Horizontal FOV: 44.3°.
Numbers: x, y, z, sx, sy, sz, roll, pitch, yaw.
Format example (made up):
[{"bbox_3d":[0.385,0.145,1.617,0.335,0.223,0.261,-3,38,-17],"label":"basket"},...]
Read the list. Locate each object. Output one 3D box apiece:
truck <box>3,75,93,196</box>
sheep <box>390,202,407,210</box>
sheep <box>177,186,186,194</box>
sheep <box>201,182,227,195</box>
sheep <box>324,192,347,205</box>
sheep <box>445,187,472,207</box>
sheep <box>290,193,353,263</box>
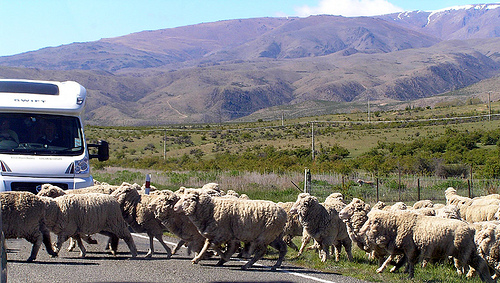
[{"bbox_3d":[-9.754,-0.093,29.537,4.131,4.754,5.624,1,-9,-15],"label":"truck"},{"bbox_3d":[6.337,2.821,26.312,0.612,0.333,0.518,2,6,13],"label":"sheep"},{"bbox_3d":[-3.192,2.282,28.256,0.322,0.288,0.238,-17,13,5],"label":"sheep"},{"bbox_3d":[-1.699,2.173,28.857,0.858,0.428,1.071,1,-8,24],"label":"sheep"},{"bbox_3d":[3.924,2.575,28.397,0.851,0.427,1.067,-3,-4,11],"label":"sheep"},{"bbox_3d":[9.762,2.675,29.408,0.844,0.730,1.247,-1,6,-16],"label":"sheep"},{"bbox_3d":[3.208,3.897,27.312,3.843,2.896,1.777,12,-15,-43],"label":"sheep"}]
